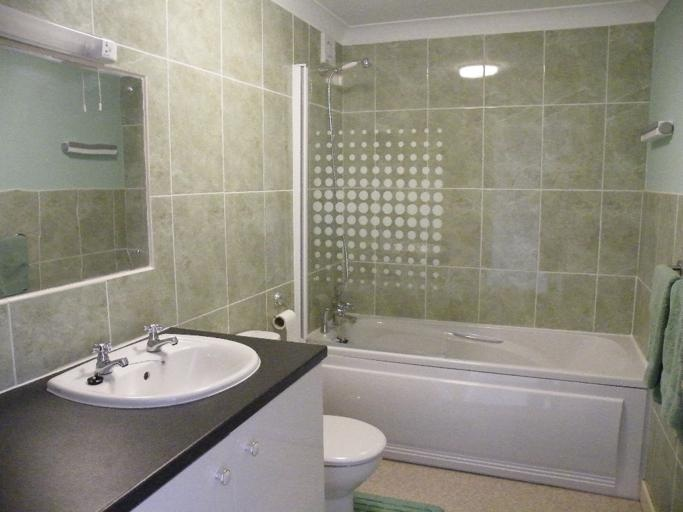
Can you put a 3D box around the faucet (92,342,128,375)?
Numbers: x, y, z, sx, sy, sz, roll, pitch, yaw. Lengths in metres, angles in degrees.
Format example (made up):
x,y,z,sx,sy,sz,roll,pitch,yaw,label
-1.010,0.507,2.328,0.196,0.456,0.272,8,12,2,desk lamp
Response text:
x,y,z,sx,sy,sz,roll,pitch,yaw,label
-0.856,0.377,2.075,0.104,0.110,0.087,2,5,-2,faucet

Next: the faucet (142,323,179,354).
x,y,z,sx,sy,sz,roll,pitch,yaw,label
-0.765,0.335,2.318,0.167,0.111,0.089,1,7,35,faucet

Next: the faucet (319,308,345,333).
x,y,z,sx,sy,sz,roll,pitch,yaw,label
-0.058,0.390,3.466,0.069,0.172,0.240,5,13,18,faucet
